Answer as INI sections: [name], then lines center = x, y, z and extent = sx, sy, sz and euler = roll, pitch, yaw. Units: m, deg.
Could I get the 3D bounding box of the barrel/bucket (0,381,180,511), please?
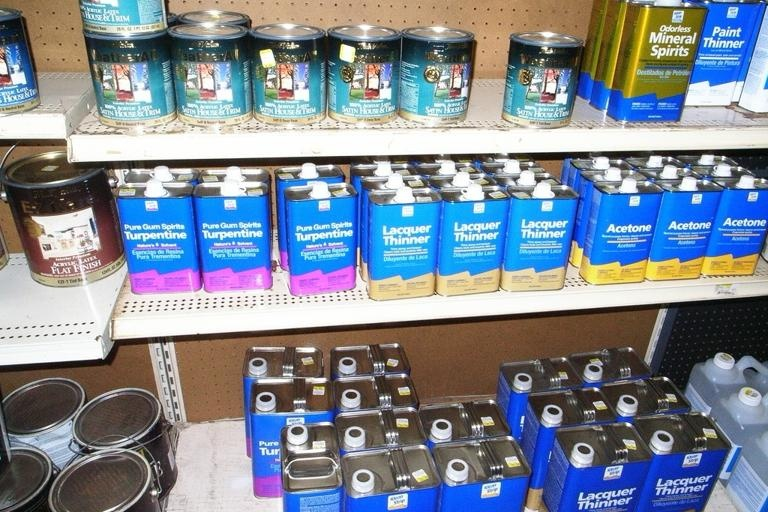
[barrel/bucket]
center = -1.306, 0.817, 2.694
extent = 0.929, 0.447, 0.412
euler = 9, 30, 0
